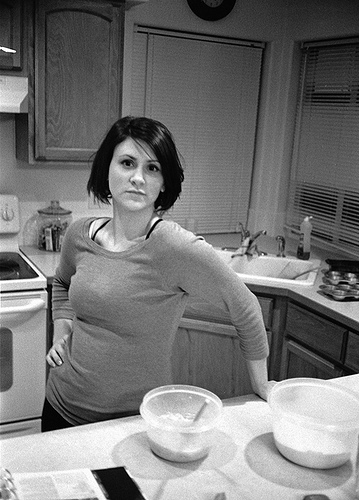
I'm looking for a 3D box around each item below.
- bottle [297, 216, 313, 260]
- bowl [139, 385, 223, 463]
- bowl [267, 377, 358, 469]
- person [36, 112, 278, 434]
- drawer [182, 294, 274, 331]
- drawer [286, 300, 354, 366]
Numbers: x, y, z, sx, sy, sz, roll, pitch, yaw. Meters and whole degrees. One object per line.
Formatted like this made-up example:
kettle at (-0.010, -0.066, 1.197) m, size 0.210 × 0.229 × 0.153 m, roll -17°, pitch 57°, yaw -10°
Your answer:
bottle at (0.822, -0.079, 2.588) m, size 0.078 × 0.202 × 0.214 m, roll 4°, pitch -2°, yaw 18°
bowl at (0.003, 0.296, 0.694) m, size 0.144 × 0.110 × 0.149 m, roll 5°, pitch -1°, yaw 0°
bowl at (0.242, 0.313, 0.714) m, size 0.161 × 0.098 × 0.185 m, roll 5°, pitch -2°, yaw 15°
person at (-0.102, 0.093, 0.995) m, size 0.735 × 0.710 × 0.268 m, roll 4°, pitch -1°, yaw 25°
drawer at (0.267, 0.328, 2.169) m, size 0.493 × 0.154 × 0.084 m, roll 5°, pitch -1°, yaw 4°
drawer at (0.680, 0.396, 1.931) m, size 0.195 × 0.156 × 0.299 m, roll 11°, pitch 12°, yaw -36°
